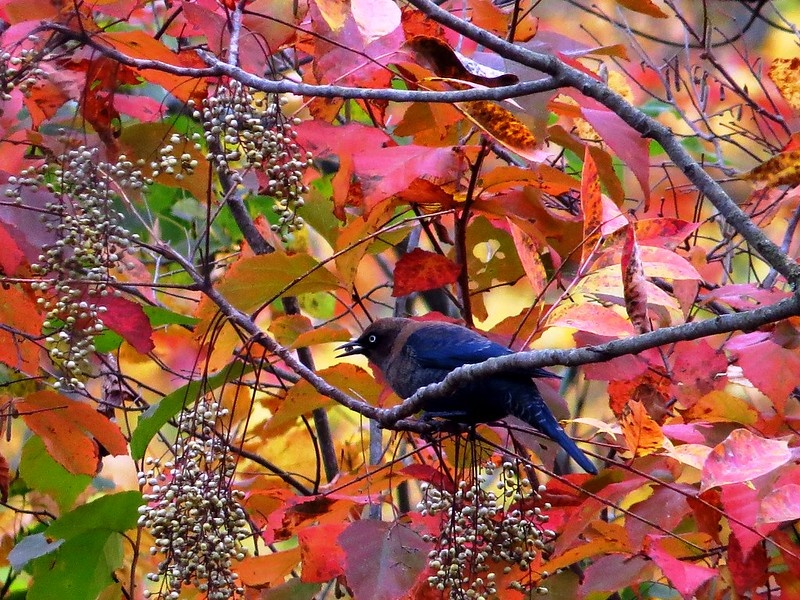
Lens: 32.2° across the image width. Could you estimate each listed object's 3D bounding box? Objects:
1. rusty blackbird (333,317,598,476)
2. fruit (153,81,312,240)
[{"bbox_3d":[0.230,0.322,5.290,0.431,1.383,0.554,25,-102,-45],"label":"rusty blackbird"},{"bbox_3d":[-0.583,-0.502,4.981,0.425,0.629,0.208,16,-105,-19],"label":"fruit"}]
